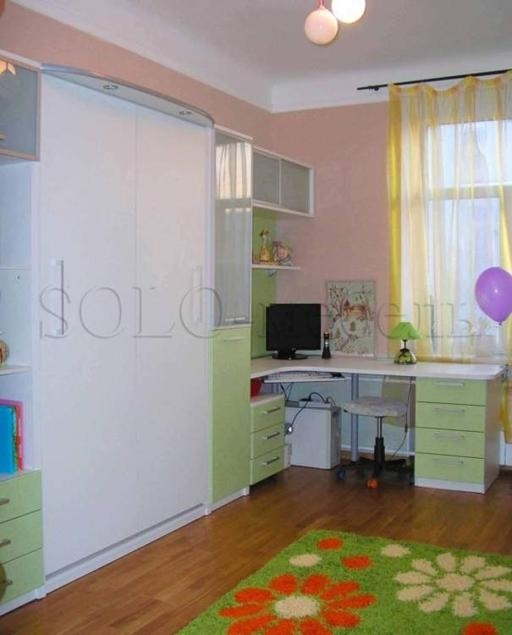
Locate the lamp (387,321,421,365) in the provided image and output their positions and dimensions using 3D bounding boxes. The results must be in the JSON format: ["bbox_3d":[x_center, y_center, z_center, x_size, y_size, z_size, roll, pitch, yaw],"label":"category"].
[{"bbox_3d":[1.133,0.182,4.048,0.297,0.414,0.291,1,6,12],"label":"lamp"}]

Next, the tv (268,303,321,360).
[{"bbox_3d":[0.314,0.114,4.358,0.435,0.425,0.151,1,-5,-24],"label":"tv"}]

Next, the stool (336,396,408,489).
[{"bbox_3d":[0.879,0.844,3.842,0.562,0.553,0.550,2,9,19],"label":"stool"}]

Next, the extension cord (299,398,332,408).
[{"bbox_3d":[0.465,0.678,4.101,0.185,0.049,0.138,0,0,18],"label":"extension cord"}]
